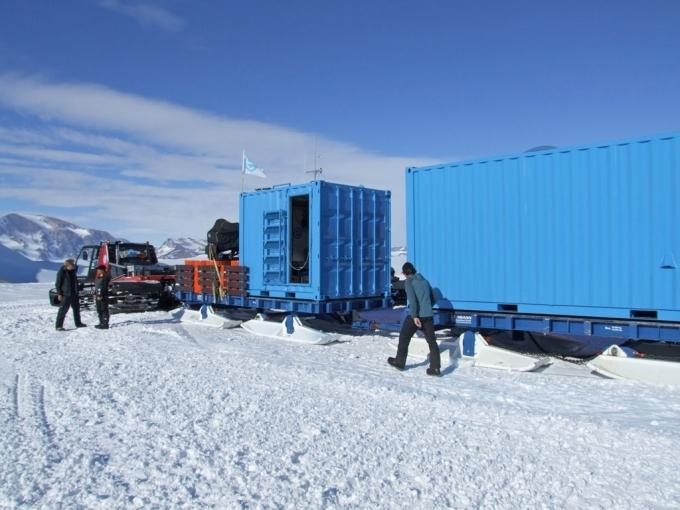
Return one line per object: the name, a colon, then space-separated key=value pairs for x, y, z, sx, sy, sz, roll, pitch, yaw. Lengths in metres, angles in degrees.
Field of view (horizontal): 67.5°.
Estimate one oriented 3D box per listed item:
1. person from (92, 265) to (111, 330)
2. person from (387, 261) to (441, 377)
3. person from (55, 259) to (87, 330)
person: x=-6.602 y=1.149 z=14.123 sx=0.326 sy=1.648 sz=1.296 roll=-2 pitch=7 yaw=-25
person: x=1.508 y=1.232 z=9.702 sx=0.463 sy=2.028 sz=1.036 roll=-5 pitch=9 yaw=-43
person: x=-7.298 y=1.045 z=13.715 sx=0.714 sy=1.976 sz=1.142 roll=-2 pitch=7 yaw=-28
